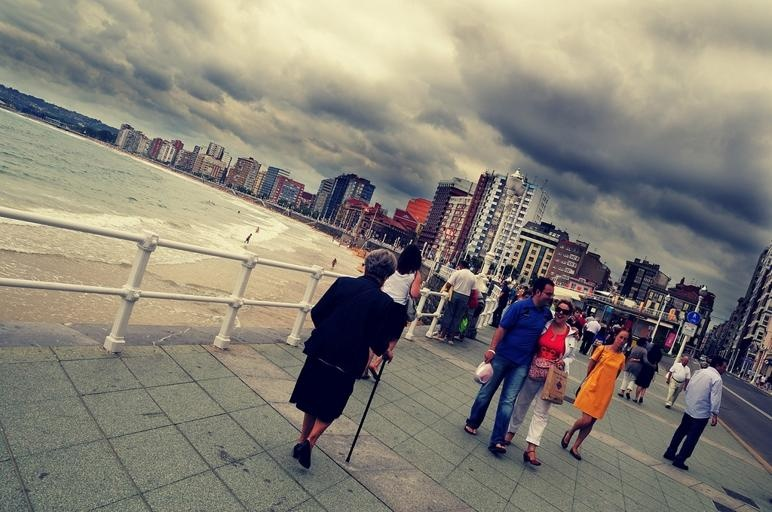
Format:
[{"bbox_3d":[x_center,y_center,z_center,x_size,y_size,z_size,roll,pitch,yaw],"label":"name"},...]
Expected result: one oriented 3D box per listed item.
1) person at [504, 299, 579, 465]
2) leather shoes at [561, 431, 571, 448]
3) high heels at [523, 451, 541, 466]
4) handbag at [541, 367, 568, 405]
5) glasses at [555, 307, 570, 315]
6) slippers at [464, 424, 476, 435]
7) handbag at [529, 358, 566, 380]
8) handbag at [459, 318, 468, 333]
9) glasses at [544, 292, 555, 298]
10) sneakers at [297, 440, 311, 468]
[{"bbox_3d":[2.386,1.824,7.390,0.607,2.584,0.437,23,6,18],"label":"person"},{"bbox_3d":[2.955,2.965,8.163,0.155,0.276,0.071,10,9,-33],"label":"leather shoes"},{"bbox_3d":[2.164,2.962,7.313,0.145,0.114,0.272,11,-18,-17],"label":"high heels"},{"bbox_3d":[2.489,1.887,7.249,0.303,0.571,0.277,21,6,3],"label":"handbag"},{"bbox_3d":[2.612,0.827,7.279,0.194,0.125,0.133,21,6,28],"label":"glasses"},{"bbox_3d":[1.319,2.663,7.698,0.116,0.065,0.188,3,8,-9],"label":"slippers"},{"bbox_3d":[2.429,1.667,7.347,0.349,0.283,0.140,2,-5,5],"label":"handbag"},{"bbox_3d":[1.999,1.769,12.673,0.255,0.298,0.084,13,3,-38],"label":"handbag"},{"bbox_3d":[2.398,0.575,7.267,0.126,0.112,0.043,3,1,-6],"label":"glasses"},{"bbox_3d":[-0.913,2.279,5.820,0.130,0.318,0.138,-4,-4,35],"label":"sneakers"}]
